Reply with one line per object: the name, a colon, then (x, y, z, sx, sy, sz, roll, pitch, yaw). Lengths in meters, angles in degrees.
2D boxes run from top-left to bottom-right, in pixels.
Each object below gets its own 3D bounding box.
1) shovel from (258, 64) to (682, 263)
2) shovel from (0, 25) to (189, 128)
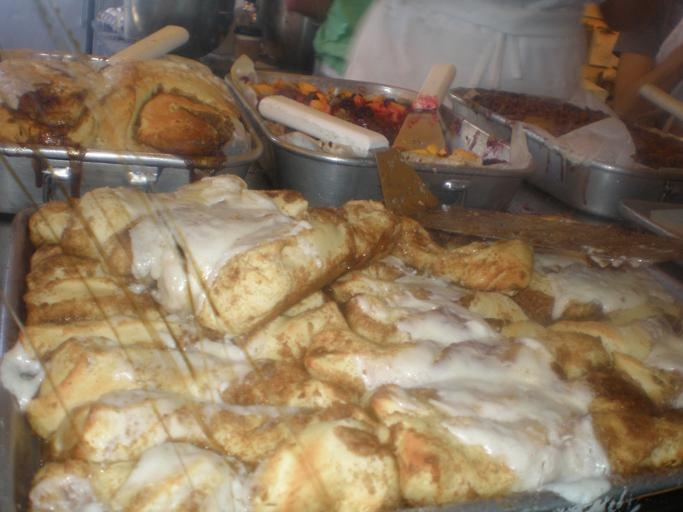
shovel: (0.416, -0.215, 2.321, 0.640, 0.151, 1.075, 3, 25, -21)
shovel: (-0.629, -0.574, 2.220, 0.151, 0.115, 0.728, 35, 47, 26)
